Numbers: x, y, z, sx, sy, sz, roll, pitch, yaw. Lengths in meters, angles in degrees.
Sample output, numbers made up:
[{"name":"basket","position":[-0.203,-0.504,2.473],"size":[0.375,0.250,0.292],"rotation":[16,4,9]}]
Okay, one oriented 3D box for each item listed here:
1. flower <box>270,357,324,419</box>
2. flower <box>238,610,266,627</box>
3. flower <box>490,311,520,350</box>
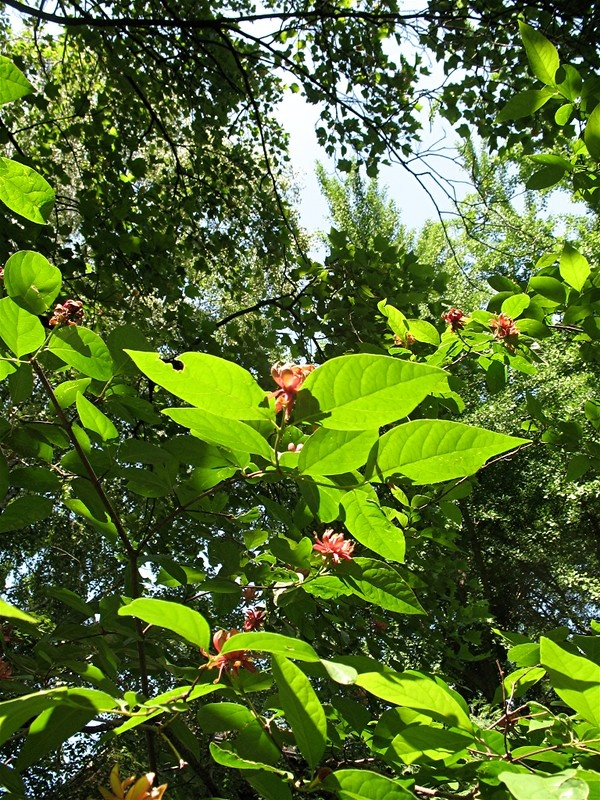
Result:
[{"name":"flower","position":[-0.028,-0.026,1.803],"size":[0.132,0.119,0.137],"rotation":[8,-14,-38]},{"name":"flower","position":[-0.165,0.794,2.749],"size":[0.074,0.079,0.161],"rotation":[-4,-25,-4]},{"name":"flower","position":[0.829,-0.270,3.065],"size":[0.091,0.124,0.115],"rotation":[-21,-31,27]}]
